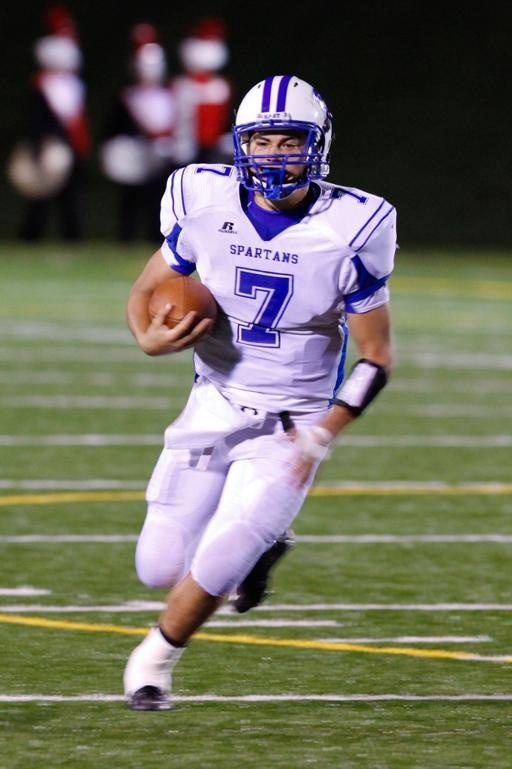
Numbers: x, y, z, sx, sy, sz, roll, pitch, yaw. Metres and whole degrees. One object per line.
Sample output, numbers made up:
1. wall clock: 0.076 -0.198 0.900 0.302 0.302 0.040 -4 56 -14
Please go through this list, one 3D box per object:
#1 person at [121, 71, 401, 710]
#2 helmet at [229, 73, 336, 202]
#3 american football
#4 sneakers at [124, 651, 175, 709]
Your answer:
1. person: 0.010 -0.032 2.229 0.593 1.301 0.643 0 16 -7
2. helmet: 0.066 -0.589 2.323 0.251 0.241 0.285 3 23 14
3. american football: -0.177 -0.176 2.278 0.162 0.134 0.129 -5 22 -15
4. sneakers: -0.228 0.607 2.097 0.101 0.155 0.253 2 -10 -3
